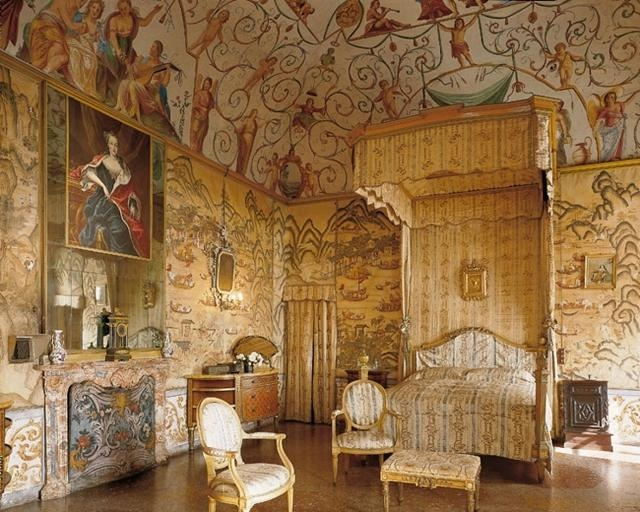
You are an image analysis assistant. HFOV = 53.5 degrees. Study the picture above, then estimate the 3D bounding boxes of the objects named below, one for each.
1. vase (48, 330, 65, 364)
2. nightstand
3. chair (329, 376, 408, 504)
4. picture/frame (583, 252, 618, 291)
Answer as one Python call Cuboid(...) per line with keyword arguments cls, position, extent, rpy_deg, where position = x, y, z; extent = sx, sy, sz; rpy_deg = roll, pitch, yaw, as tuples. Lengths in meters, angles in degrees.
Cuboid(cls="vase", position=(-3.484, 1.215, 8.423), extent=(0.197, 0.441, 0.154), rpy_deg=(7, -12, -27))
Cuboid(cls="nightstand", position=(4.530, 2.740, 10.798), extent=(0.924, 1.460, 0.510), rpy_deg=(-1, -7, 17))
Cuboid(cls="chair", position=(0.615, 2.480, 9.066), extent=(0.999, 1.414, 0.924), rpy_deg=(2, -8, -17))
Cuboid(cls="picture/frame", position=(5.052, 0.286, 11.452), extent=(0.538, 0.770, 0.079), rpy_deg=(-2, -36, 27))
